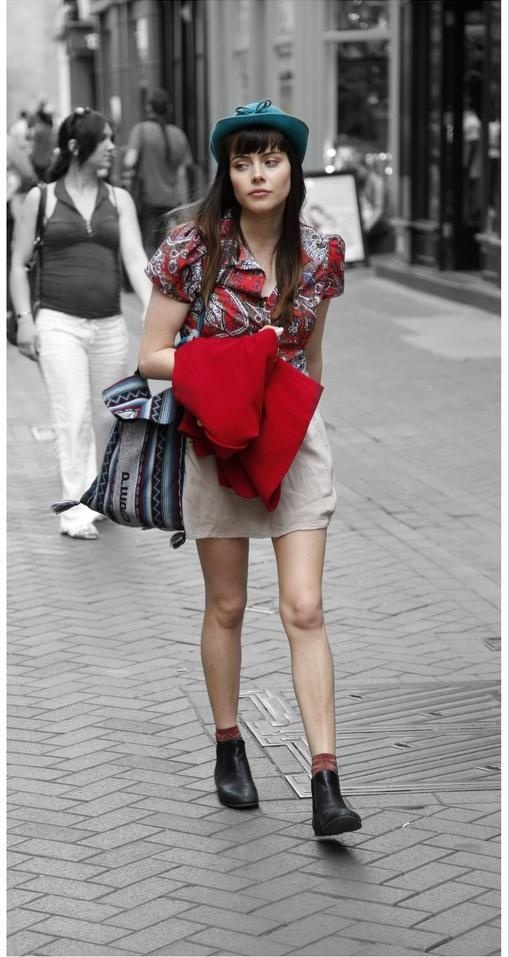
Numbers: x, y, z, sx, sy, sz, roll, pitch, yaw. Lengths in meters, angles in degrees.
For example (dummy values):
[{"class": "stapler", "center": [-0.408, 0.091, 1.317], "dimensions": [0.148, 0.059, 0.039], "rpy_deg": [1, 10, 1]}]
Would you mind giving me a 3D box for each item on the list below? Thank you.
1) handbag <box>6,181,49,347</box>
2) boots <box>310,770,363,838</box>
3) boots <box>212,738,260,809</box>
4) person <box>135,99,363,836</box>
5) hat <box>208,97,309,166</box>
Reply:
[{"class": "handbag", "center": [-1.283, -1.174, 5.125], "dimensions": [0.253, 0.962, 0.177], "rpy_deg": [-2, 9, -12]}, {"class": "boots", "center": [0.171, 0.734, 2.048], "dimensions": [0.074, 0.138, 0.193], "rpy_deg": [-1, -22, -13]}, {"class": "boots", "center": [-0.058, 0.794, 2.433], "dimensions": [0.071, 0.106, 0.226], "rpy_deg": [-3, -3, -10]}, {"class": "person", "center": [0.007, -0.011, 2.248], "dimensions": [0.607, 1.793, 0.595], "rpy_deg": [2, 9, 18]}, {"class": "hat", "center": [0.008, -0.865, 2.214], "dimensions": [0.232, 0.169, 0.304], "rpy_deg": [0, 9, 1]}]
